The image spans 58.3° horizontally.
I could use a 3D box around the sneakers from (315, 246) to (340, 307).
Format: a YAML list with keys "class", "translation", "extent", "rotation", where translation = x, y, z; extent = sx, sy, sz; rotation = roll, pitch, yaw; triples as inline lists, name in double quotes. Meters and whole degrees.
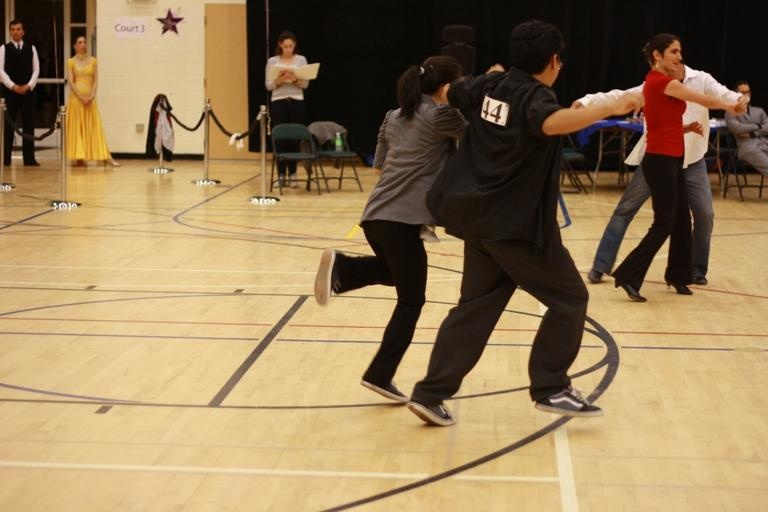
- class: "sneakers"
  translation: [-0.315, 0.123, 3.847]
  extent: [0.117, 0.302, 0.125]
  rotation: [3, -8, 22]

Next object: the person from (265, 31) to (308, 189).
- class: "person"
  translation: [-1.531, -2.274, 10.875]
  extent: [0.598, 2.409, 0.862]
  rotation: [0, 17, -9]

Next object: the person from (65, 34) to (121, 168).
- class: "person"
  translation: [-5.782, -2.973, 13.404]
  extent: [0.804, 2.446, 0.933]
  rotation: [-5, 18, -23]

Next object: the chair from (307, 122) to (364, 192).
- class: "chair"
  translation: [-0.917, -1.799, 12.491]
  extent: [0.958, 1.223, 0.920]
  rotation: [-4, 12, -14]

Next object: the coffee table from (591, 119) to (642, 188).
- class: "coffee table"
  translation: [3.847, -1.794, 11.803]
  extent: [0.890, 0.918, 1.094]
  rotation: [9, 13, 9]

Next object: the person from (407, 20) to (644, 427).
- class: "person"
  translation: [0.655, -0.106, 3.392]
  extent: [0.904, 2.011, 0.500]
  rotation: [5, 17, 10]

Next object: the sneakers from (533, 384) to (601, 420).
- class: "sneakers"
  translation: [0.921, 0.748, 3.528]
  extent: [0.345, 0.142, 0.133]
  rotation: [1, 2, 0]
